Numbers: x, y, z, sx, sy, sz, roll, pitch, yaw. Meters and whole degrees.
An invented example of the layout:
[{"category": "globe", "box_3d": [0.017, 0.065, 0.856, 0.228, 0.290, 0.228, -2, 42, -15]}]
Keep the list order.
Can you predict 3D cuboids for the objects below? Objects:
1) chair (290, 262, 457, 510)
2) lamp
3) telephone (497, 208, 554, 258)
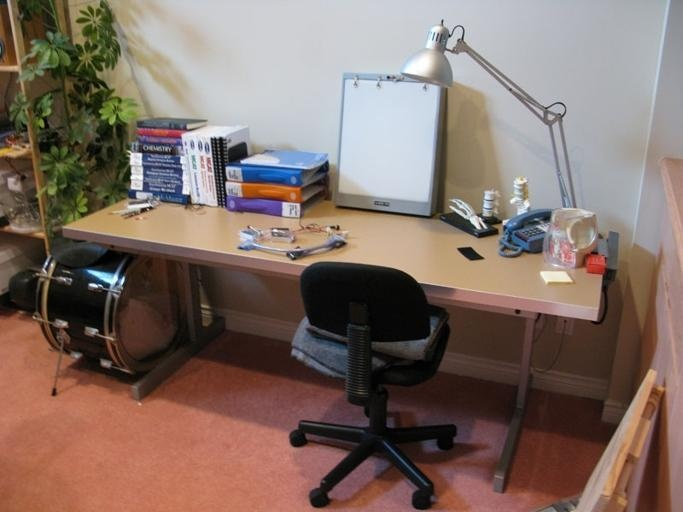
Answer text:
[{"category": "chair", "box_3d": [0.131, 0.572, 2.314, 0.659, 0.952, 0.719, 3, 30, 10]}, {"category": "lamp", "box_3d": [0.744, -0.474, 2.353, 0.900, 0.938, 0.593, 11, 20, 24]}, {"category": "telephone", "box_3d": [0.792, -0.094, 2.365, 0.241, 0.093, 0.174, -22, 27, -12]}]
